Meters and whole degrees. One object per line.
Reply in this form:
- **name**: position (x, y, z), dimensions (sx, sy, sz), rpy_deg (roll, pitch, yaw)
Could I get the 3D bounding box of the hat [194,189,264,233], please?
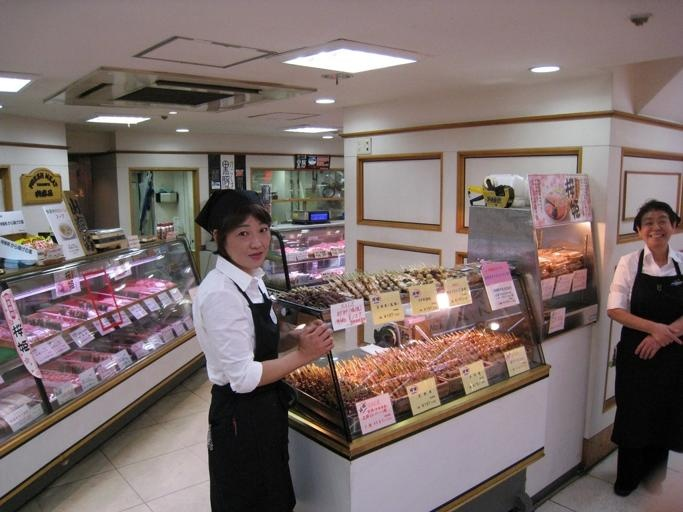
- **hat**: position (-0.565, -0.225, 2.151), dimensions (0.212, 0.135, 0.268), rpy_deg (-11, -1, -37)
